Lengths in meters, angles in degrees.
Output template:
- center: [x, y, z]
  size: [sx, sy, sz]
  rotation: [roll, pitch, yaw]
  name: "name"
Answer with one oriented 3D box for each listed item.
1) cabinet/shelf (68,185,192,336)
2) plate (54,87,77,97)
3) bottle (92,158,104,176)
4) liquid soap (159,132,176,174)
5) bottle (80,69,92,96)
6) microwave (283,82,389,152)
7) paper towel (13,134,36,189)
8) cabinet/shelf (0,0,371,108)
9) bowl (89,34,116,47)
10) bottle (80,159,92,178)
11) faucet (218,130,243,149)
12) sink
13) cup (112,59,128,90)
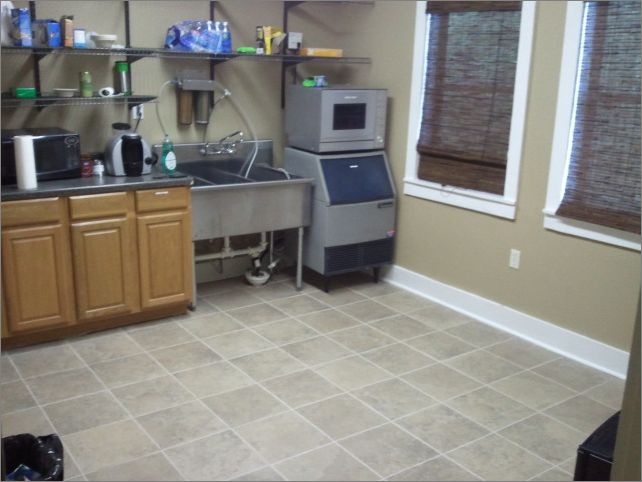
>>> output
- center: [-1.321, 0.108, 3.406]
  size: [1.010, 1.074, 0.585]
  rotation: [-5, 8, -34]
  name: "cabinet/shelf"
- center: [-1.716, -0.992, 3.380]
  size: [0.124, 0.043, 0.123]
  rotation: [-4, 5, -16]
  name: "plate"
- center: [-1.549, -0.513, 3.478]
  size: [0.102, 0.151, 0.100]
  rotation: [-1, 5, 0]
  name: "bottle"
- center: [-1.124, -0.637, 3.661]
  size: [0.098, 0.246, 0.170]
  rotation: [-6, 20, -15]
  name: "liquid soap"
- center: [-1.647, -1.100, 3.519]
  size: [0.091, 0.169, 0.272]
  rotation: [-9, 21, -22]
  name: "bottle"
- center: [0.111, -0.993, 4.242]
  size: [0.700, 0.474, 0.683]
  rotation: [-8, 15, -36]
  name: "microwave"
- center: [-1.861, -0.490, 3.131]
  size: [0.132, 0.314, 0.127]
  rotation: [8, 12, 26]
  name: "paper towel"
- center: [-0.974, -1.452, 3.804]
  size: [2.619, 0.832, 0.449]
  rotation: [-10, 22, -28]
  name: "cabinet/shelf"
- center: [-1.479, -1.357, 3.418]
  size: [0.149, 0.089, 0.132]
  rotation: [-9, 21, -24]
  name: "bowl"
- center: [-1.618, -0.500, 3.476]
  size: [0.073, 0.100, 0.106]
  rotation: [-3, 19, -6]
  name: "bottle"
- center: [-0.738, -0.826, 4.201]
  size: [0.176, 0.047, 0.171]
  rotation: [-23, 13, -18]
  name: "faucet"
- center: [-0.674, -0.441, 4.042]
  size: [0.818, 0.294, 0.764]
  rotation: [-7, 15, -32]
  name: "sink"
- center: [-1.443, -1.187, 3.648]
  size: [0.108, 0.224, 0.177]
  rotation: [-12, 22, -29]
  name: "cup"
